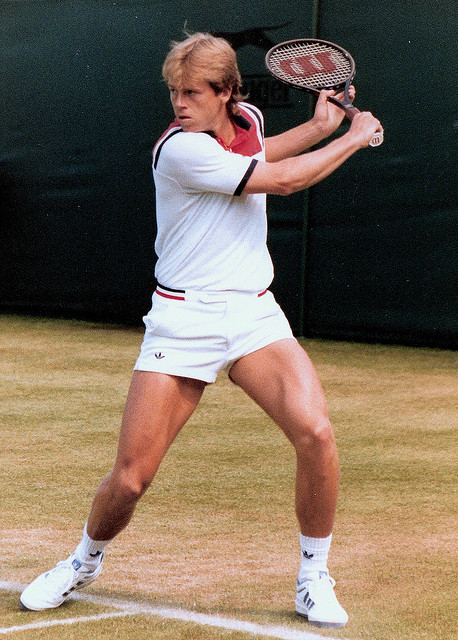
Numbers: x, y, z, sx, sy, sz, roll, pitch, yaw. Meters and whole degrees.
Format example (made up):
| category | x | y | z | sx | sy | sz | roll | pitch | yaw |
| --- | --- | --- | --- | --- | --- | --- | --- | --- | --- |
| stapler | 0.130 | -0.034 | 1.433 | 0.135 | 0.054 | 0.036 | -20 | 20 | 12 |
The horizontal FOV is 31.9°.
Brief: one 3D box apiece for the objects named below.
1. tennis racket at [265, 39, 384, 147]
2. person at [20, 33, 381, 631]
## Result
| category | x | y | z | sx | sy | sz | roll | pitch | yaw |
| --- | --- | --- | --- | --- | --- | --- | --- | --- | --- |
| tennis racket | 0.350 | -0.781 | 2.690 | 0.249 | 0.575 | 0.038 | -12 | 63 | 38 |
| person | -0.045 | 0.025 | 1.947 | 0.748 | 1.381 | 0.442 | 3 | 11 | 8 |
